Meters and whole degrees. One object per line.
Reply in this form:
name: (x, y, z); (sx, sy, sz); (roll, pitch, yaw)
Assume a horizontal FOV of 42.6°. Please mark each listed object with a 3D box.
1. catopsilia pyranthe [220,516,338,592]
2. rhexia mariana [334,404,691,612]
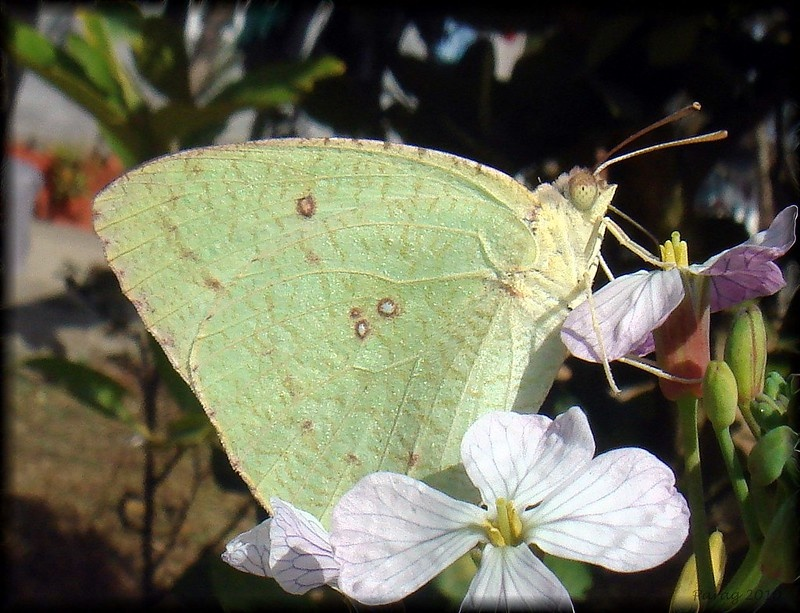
catopsilia pyranthe: (-0.169, 0.383, 1.589); (0.143, 0.060, 0.143); (18, 60, -32)
rhexia mariana: (0.188, 0.322, 1.551); (0.363, 0.130, 0.388); (-1, 50, 17)
